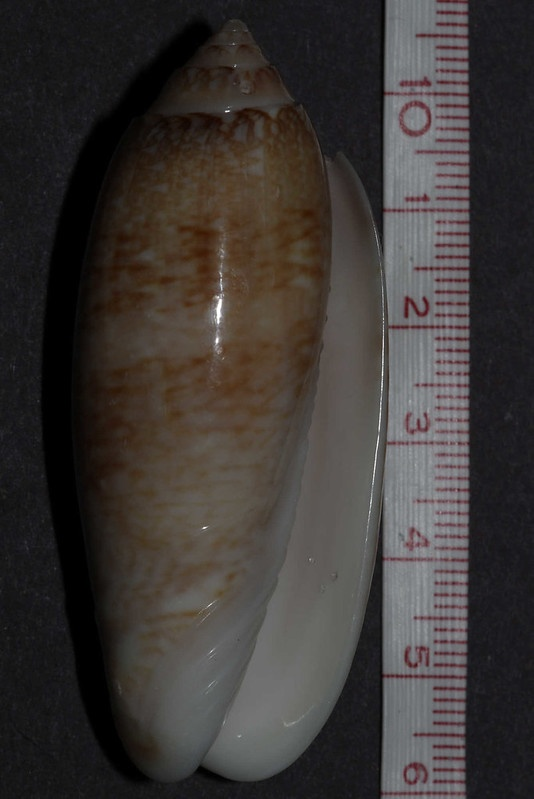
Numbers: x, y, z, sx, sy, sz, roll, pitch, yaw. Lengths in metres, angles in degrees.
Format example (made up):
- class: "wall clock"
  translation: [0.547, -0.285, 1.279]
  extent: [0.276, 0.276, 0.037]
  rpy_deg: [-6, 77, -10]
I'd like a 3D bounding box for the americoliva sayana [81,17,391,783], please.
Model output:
- class: "americoliva sayana"
  translation: [-0.026, 0.017, 0.949]
  extent: [0.328, 0.774, 0.161]
  rpy_deg: [-3, 9, -32]
